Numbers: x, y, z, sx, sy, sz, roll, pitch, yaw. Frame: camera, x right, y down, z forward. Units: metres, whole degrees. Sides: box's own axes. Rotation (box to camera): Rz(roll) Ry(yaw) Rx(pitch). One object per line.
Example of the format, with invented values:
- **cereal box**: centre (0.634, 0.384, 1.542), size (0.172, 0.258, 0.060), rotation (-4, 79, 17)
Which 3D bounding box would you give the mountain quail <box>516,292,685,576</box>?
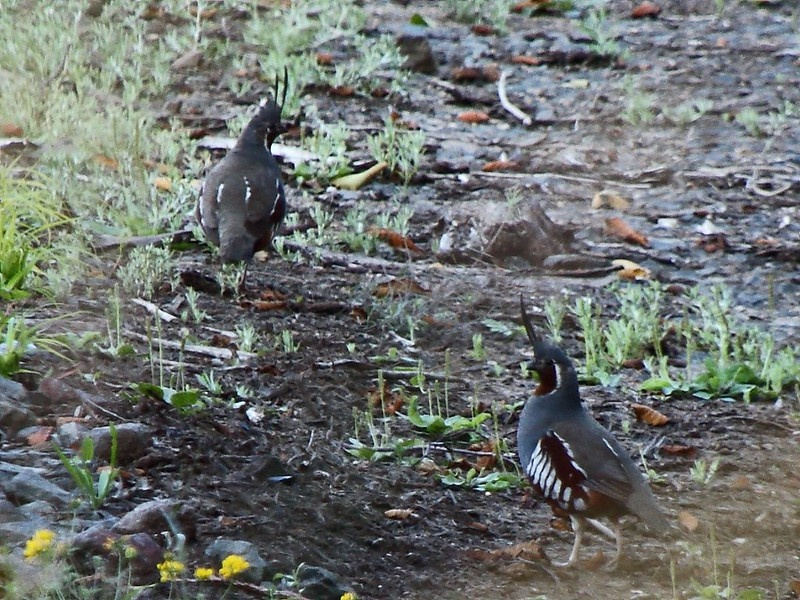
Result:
- **mountain quail**: centre (0.897, 0.677, 5.138), size (0.468, 1.183, 0.811), rotation (-11, 16, -26)
